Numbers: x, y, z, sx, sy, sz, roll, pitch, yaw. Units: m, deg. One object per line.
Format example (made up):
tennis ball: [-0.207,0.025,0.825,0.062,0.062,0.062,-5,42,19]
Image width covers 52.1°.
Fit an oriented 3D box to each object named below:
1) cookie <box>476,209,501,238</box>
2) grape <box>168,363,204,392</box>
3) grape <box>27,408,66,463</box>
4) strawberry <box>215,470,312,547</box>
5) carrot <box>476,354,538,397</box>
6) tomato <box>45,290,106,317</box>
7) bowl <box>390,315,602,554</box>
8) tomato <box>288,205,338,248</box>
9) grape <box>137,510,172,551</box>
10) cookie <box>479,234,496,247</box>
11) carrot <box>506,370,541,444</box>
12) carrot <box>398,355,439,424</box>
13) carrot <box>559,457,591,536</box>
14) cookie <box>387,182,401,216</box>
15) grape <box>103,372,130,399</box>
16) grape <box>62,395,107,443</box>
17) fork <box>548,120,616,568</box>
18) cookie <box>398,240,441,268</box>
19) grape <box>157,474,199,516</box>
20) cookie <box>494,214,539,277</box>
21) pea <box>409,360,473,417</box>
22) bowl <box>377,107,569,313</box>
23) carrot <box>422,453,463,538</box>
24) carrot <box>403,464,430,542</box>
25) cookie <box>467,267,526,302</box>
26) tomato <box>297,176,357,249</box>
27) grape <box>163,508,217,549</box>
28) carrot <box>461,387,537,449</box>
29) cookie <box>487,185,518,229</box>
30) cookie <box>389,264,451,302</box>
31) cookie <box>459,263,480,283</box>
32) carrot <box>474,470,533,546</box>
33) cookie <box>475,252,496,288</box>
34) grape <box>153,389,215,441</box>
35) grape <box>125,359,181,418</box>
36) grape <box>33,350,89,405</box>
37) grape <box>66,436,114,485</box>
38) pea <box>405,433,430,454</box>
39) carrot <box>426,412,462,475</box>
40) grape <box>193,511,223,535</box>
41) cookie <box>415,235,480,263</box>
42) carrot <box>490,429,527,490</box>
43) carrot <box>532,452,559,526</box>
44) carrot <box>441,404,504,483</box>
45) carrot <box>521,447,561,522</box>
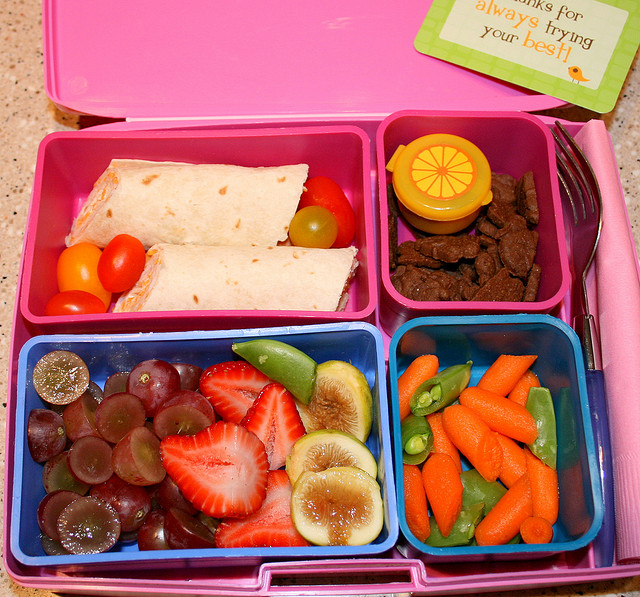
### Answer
cookie: [0.346,-0.149,1.337,0.042,0.017,0.055,-48,61,0]
grape: [-0.245,0.141,1.164,0.044,0.049,0.036,1,80,3]
grape: [-0.461,0.228,1.105,0.043,0.064,0.081,-8,89,42]
strawberry: [-0.094,0.333,1.070,0.165,0.059,0.163,1,88,-5]
carrot: [0.344,0.137,1.206,0.111,0.060,0.039,-45,52,-1]
tomato: [-0.460,0.028,1.220,0.084,0.063,0.050,5,72,-34]
bowl: [0.303,0.246,1.148,0.318,0.143,0.427,-3,58,10]
tomato: [-0.011,-0.135,1.278,0.080,0.081,0.090,0,90,5]
grape: [-0.266,0.373,1.066,0.048,0.037,0.066,20,70,-22]
cookie: [0.338,-0.115,1.319,0.028,0.010,0.018,13,78,19]
carrot: [0.368,0.212,1.217,0.042,0.126,0.061,41,102,-13]
carrot: [0.177,0.157,1.209,0.124,0.044,0.053,-54,35,-13]
carrot: [0.432,0.339,1.113,0.019,0.051,0.097,0,75,-16]
cookie: [0.150,-0.197,1.335,0.050,0.014,0.056,-1,96,-18]
grape: [-0.362,0.150,1.159,0.040,0.025,0.044,-2,97,-16]
grape: [-0.403,0.206,1.153,0.051,0.084,0.083,-17,54,3]
fork: [0.537,0.103,1.319,0.086,0.088,0.871,-5,104,15]
cookie: [0.191,-0.088,1.309,0.062,0.019,0.052,3,56,5]
grape: [-0.226,0.314,1.090,0.072,0.041,0.055,43,85,1]
cookie: [0.390,-0.100,1.278,0.078,0.023,0.115,11,71,0]
pea: [0.213,0.154,1.182,0.125,0.057,0.061,-28,51,-33]
bowl: [0.312,-0.142,1.318,0.390,0.192,0.427,0,67,0]
carrot: [0.202,0.319,1.071,0.057,0.042,0.126,-11,72,21]
carrot: [0.159,0.328,1.069,0.047,0.038,0.116,-3,107,33]
cookie: [0.352,-0.022,1.244,0.074,0.018,0.081,-2,109,-33]
tomato: [0.002,-0.211,1.417,0.119,0.165,0.094,4,86,-6]
grape: [-0.201,0.362,1.042,0.026,0.066,0.068,-36,58,7]
carrot: [0.299,0.210,1.205,0.067,0.160,0.060,9,77,38]
cookie: [0.365,-0.181,1.328,0.073,0.019,0.077,24,64,3]
cookie: [0.198,-0.024,1.255,0.090,0.033,0.069,17,74,12]
cookie: [0.300,-0.052,1.304,0.036,0.012,0.028,44,106,21]
carrot: [0.333,0.351,1.142,0.048,0.056,0.166,20,56,41]
cookie: [0.323,-0.050,1.282,0.034,0.022,0.066,20,74,-22]
grape: [-0.224,0.192,1.080,0.075,0.049,0.086,6,95,-9]
grape: [-0.291,0.167,1.171,0.085,0.050,0.094,22,82,8]
grape: [-0.447,0.135,1.129,0.086,0.035,0.087,30,70,12]
grape: [-0.376,0.263,1.071,0.074,0.045,0.079,12,68,-34]
pea: [0.163,0.240,1.102,0.040,0.015,0.027,-32,96,-19]
carrot: [0.221,0.250,1.172,0.051,0.040,0.116,-34,72,32]
grape: [-0.180,0.365,1.078,0.045,0.045,0.014,36,103,-17]
cookie: [0.258,-0.100,1.283,0.082,0.020,0.065,8,37,3]
carrot: [0.341,0.284,1.156,0.050,0.034,0.105,-24,79,-36]
carrot: [0.394,0.332,1.147,0.044,0.141,0.048,-6,109,15]
carrot: [0.266,0.260,1.204,0.107,0.229,0.124,-4,103,10]
carrot: [0.391,0.319,1.145,0.060,0.047,0.144,6,46,5]
